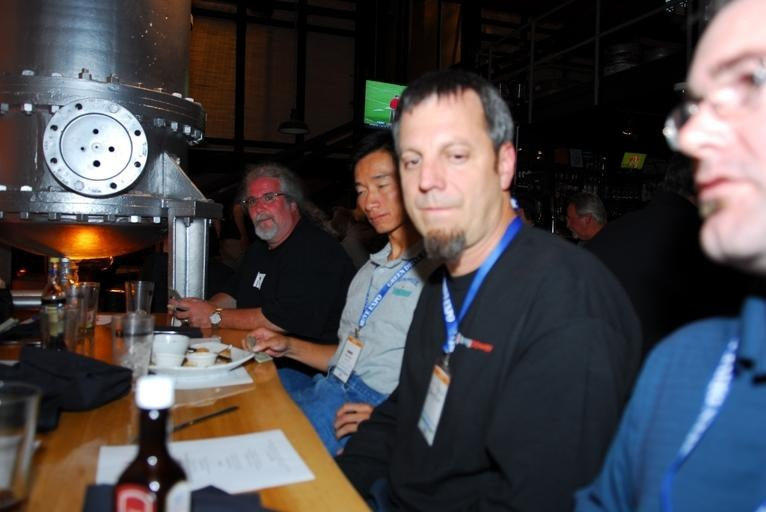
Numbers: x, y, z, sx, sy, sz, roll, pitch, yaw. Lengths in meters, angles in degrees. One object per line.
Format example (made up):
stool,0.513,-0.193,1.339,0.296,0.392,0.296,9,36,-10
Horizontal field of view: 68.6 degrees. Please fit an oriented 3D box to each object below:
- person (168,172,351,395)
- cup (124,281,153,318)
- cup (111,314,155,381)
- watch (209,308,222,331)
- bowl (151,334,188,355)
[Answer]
person,-0.644,0.155,3.257,1.149,1.286,0.988,-7,8,-29
cup,-1.011,0.180,2.336,0.129,0.140,0.132,3,-3,0
cup,-0.771,0.303,1.780,0.141,0.208,0.135,1,-4,0
watch,-0.785,0.309,2.677,0.057,0.085,0.082,2,0,-4
bowl,-0.715,0.294,1.875,0.083,0.052,0.080,1,-15,0
